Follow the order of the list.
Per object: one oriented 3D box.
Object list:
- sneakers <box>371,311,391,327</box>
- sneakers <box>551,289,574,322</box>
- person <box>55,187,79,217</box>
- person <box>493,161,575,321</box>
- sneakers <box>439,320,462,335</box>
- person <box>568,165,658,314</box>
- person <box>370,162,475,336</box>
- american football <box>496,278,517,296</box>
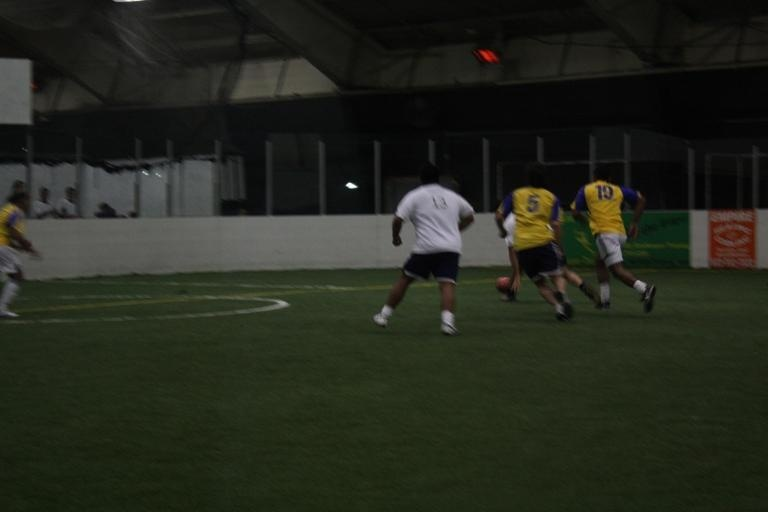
[{"bbox_3d":[-0.037,0.785,8.435,0.166,0.085,0.221,0,9,-5],"label":"sneakers"},{"bbox_3d":[2.280,0.662,8.911,0.173,0.494,0.207,-20,1,-24],"label":"sneakers"},{"bbox_3d":[-8.082,-1.367,17.680,0.477,0.750,0.158,0,0,-15],"label":"person"},{"bbox_3d":[2.049,-0.189,9.003,0.759,1.996,0.285,0,0,10],"label":"person"},{"bbox_3d":[0.778,0.849,8.078,0.195,0.187,0.212,0,1,6],"label":"sneakers"},{"bbox_3d":[3.308,-0.256,10.011,1.102,2.106,0.962,1,0,23],"label":"person"},{"bbox_3d":[0.514,-0.108,8.305,1.110,2.073,0.826,0,0,6],"label":"person"},{"bbox_3d":[2.134,0.559,11.724,0.250,0.280,0.321,8,37,-28],"label":"american football"}]
